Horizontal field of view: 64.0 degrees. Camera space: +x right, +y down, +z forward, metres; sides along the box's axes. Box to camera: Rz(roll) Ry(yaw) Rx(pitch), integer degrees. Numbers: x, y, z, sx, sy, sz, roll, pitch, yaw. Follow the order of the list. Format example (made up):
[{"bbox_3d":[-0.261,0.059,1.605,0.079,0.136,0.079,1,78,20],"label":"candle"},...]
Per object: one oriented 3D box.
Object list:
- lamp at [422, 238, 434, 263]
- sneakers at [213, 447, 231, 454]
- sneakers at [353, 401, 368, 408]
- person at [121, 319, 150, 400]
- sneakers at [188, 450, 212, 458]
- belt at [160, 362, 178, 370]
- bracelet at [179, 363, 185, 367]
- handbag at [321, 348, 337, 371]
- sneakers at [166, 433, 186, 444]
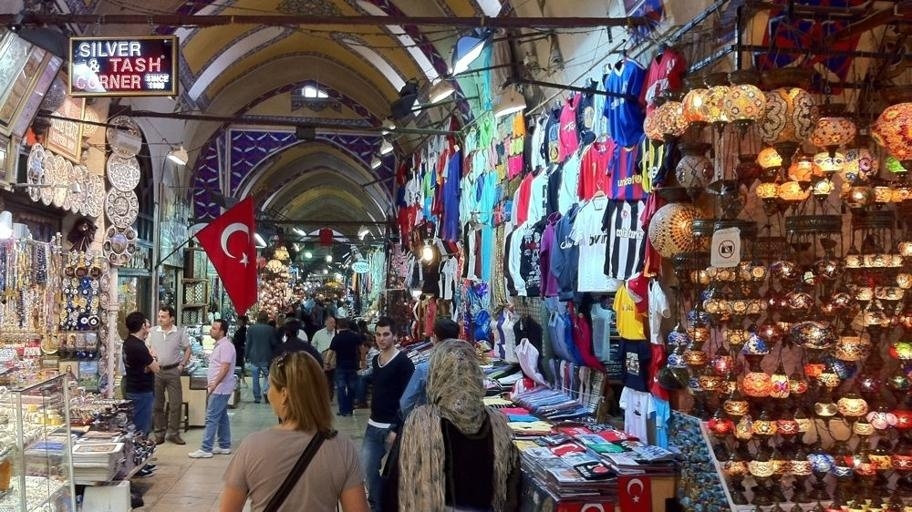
[{"bbox_3d":[-0.500,-0.068,12.643,0.085,0.340,0.276,3,6,-32],"label":"lamp"},{"bbox_3d":[-3.085,2.565,9.626,0.234,0.093,0.083,4,-9,2],"label":"sneakers"},{"bbox_3d":[-1.684,2.616,12.837,0.220,0.203,0.124,2,-4,-2],"label":"sneakers"},{"bbox_3d":[-3.798,1.162,8.738,0.336,0.960,0.295,4,-14,-21],"label":"person"},{"bbox_3d":[-3.298,2.569,9.497,0.322,0.129,0.113,6,-11,-7],"label":"sneakers"},{"bbox_3d":[-3.830,1.468,9.739,0.223,0.082,0.096,7,-15,-34],"label":"belt"},{"bbox_3d":[-3.750,1.496,9.981,0.042,0.058,0.067,7,-7,-3],"label":"bracelet"},{"bbox_3d":[-2.157,1.760,12.263,0.143,0.367,0.281,1,12,26],"label":"handbag"},{"bbox_3d":[-3.903,2.529,10.096,0.323,0.123,0.104,8,-2,7],"label":"sneakers"}]
